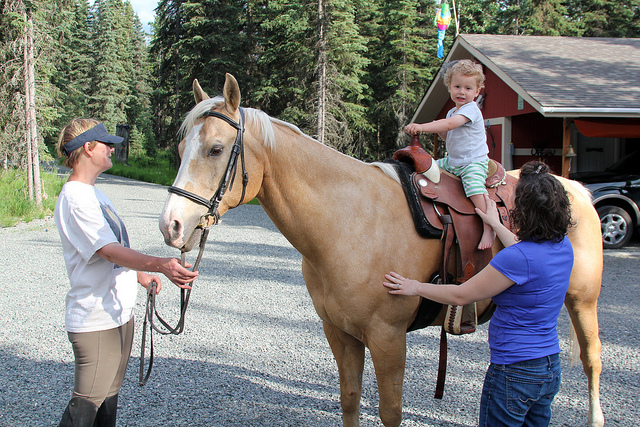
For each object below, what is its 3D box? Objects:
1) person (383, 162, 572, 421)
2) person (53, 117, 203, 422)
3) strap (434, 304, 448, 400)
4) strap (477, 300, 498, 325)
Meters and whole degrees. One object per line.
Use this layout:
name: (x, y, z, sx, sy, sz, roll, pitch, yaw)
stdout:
person: (1.741, 0.753, 4.892, 1.285, 2.478, 0.560, 0, 7, -17)
person: (-2.133, 0.607, 5.115, 1.085, 3.081, 0.723, 1, 7, -11)
strap: (1.326, 1.479, 5.471, 0.071, 0.963, 0.214, 0, -13, 24)
strap: (1.879, 1.122, 5.679, 0.062, 0.278, 0.260, 13, -12, -28)
